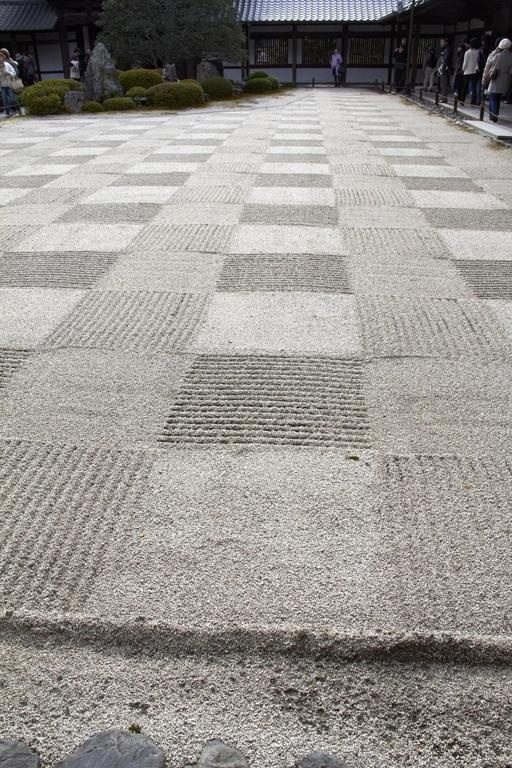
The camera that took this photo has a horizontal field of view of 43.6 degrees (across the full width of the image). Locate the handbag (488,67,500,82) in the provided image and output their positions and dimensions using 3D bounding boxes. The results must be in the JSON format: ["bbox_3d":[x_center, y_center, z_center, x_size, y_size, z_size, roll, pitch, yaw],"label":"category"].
[{"bbox_3d":[4.700,-6.115,12.648,0.069,0.194,0.152,17,35,4],"label":"handbag"}]

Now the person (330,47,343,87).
[{"bbox_3d":[3.803,-14.764,29.854,0.416,1.510,0.898,13,26,27],"label":"person"}]
